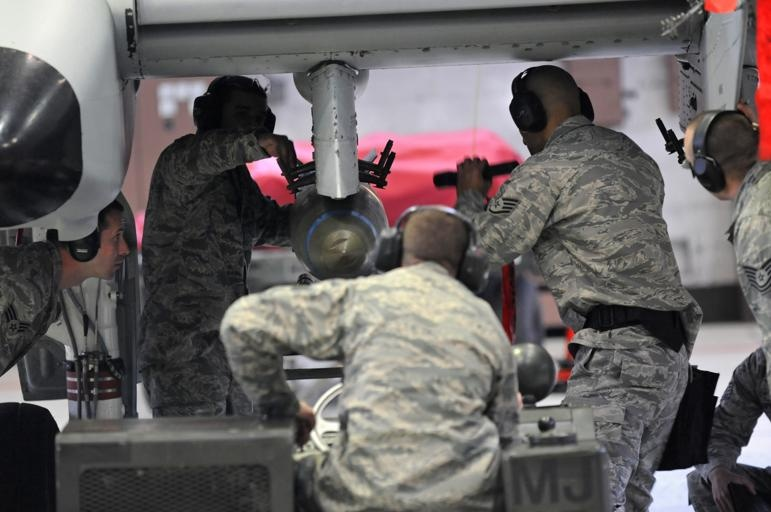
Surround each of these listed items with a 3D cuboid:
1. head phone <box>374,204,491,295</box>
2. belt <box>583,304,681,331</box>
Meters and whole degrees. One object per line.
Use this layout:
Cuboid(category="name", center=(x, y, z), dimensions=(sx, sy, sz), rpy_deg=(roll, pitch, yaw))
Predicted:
Cuboid(category="head phone", center=(0.272, -0.021, 8.365), dimensions=(0.428, 0.340, 0.194), rpy_deg=(18, 6, -2))
Cuboid(category="belt", center=(1.443, 0.359, 9.161), dimensions=(0.498, 0.145, 0.143), rpy_deg=(-1, -3, -2))
